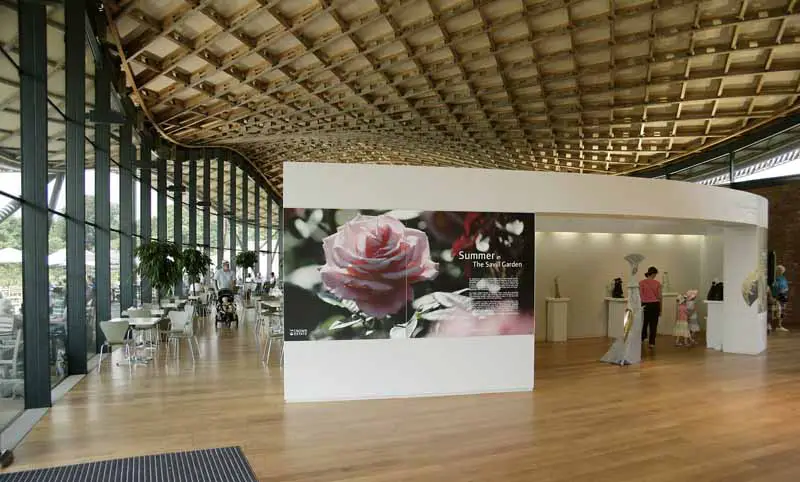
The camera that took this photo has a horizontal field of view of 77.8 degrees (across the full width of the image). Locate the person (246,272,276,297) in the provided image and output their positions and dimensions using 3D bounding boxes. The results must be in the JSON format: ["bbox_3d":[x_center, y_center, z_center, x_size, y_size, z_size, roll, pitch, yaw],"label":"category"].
[{"bbox_3d":[-7.099,2.260,25.266,1.578,0.713,1.529,0,0,7],"label":"person"}]
